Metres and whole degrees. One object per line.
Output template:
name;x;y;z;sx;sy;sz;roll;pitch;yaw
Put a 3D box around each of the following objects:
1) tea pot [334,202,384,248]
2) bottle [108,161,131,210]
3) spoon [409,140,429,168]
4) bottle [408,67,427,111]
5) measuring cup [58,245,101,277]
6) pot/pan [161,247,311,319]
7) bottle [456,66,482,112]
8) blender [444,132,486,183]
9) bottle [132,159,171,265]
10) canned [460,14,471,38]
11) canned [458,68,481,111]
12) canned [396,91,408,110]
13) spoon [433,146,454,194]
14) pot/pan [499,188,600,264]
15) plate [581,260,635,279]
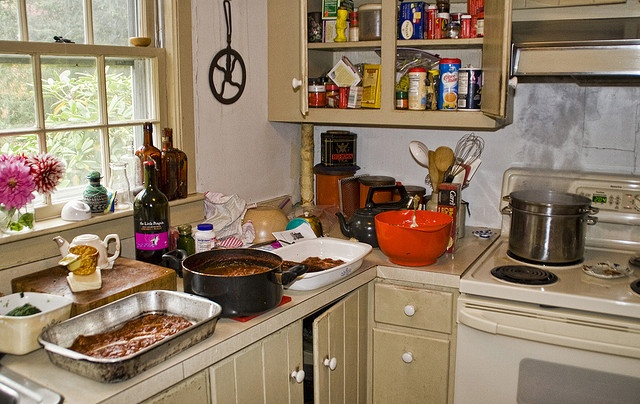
tea pot;0.190;0.122;2.395;0.212;0.200;0.114;1;14;4
bottle;-0.888;-0.075;2.173;0.093;0.189;0.126;-6;15;-23
spoon;0.526;-0.271;2.707;0.145;0.129;0.035;26;-43;-33
bottle;0.494;-0.573;2.463;0.094;0.209;0.056;3;14;11
measuring cup;-0.841;0.211;1.733;0.132;0.094;0.135;4;18;-1
pot/pan;-0.343;0.289;1.799;0.572;0.188;0.269;7;16;26
bottle;0.734;-0.555;2.384;0.132;0.201;0.066;9;17;32
blender;0.809;-0.267;2.666;0.172;0.358;0.098;27;-12;-1
bottle;-0.670;0.049;2.053;0.157;0.446;0.170;3;20;-1
canned;0.717;-0.867;2.391;0.050;0.108;0.034;3;14;11
canned;0.736;-0.568;2.435;0.139;0.196;0.140;12;19;39
canned;0.421;-0.528;2.510;0.087;0.090;0.085;-2;7;-18
spoon;0.632;-0.165;2.622;0.110;0.041;0.352;13;-30;12
pot/pan;1.059;0.078;2.262;0.406;0.277;0.337;10;17;41
plate;1.285;0.298;2.180;0.241;0.029;0.153;-3;15;-14
